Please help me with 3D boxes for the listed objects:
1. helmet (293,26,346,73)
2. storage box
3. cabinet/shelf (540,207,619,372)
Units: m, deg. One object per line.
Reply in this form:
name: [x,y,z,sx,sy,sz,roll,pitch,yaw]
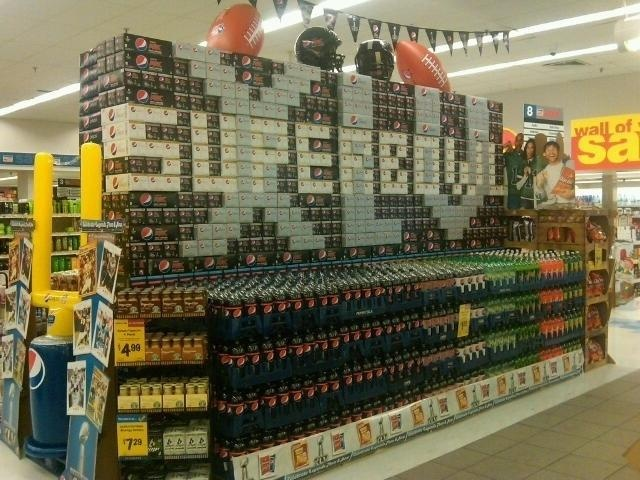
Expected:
helmet: [-0.058,-2.219,6.419,0.596,0.494,0.464,0,24,-12]
storage box: [-0.072,-0.790,5.973,4.355,2.176,0.783,0,9,-29]
cabinet/shelf: [3.352,0.586,7.572,0.948,2.122,1.140,4,-5,-31]
